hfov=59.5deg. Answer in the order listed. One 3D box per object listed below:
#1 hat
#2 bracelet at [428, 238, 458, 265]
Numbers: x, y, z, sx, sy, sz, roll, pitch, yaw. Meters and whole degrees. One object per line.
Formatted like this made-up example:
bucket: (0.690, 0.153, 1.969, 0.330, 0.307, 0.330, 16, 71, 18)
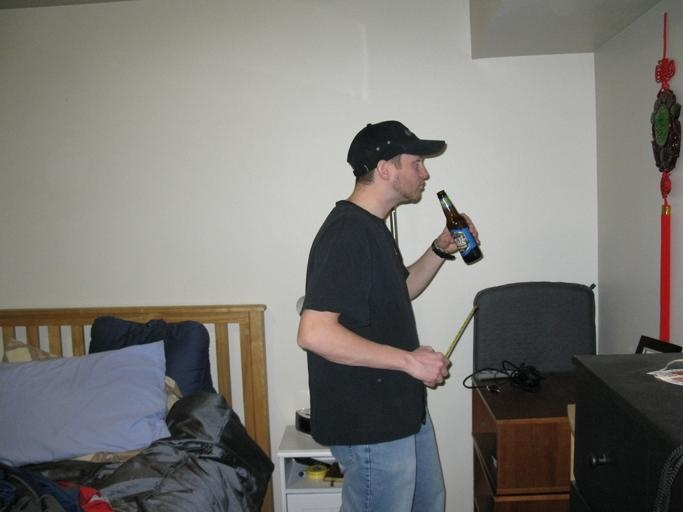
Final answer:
hat: (0.207, -0.447, 2.346, 0.388, 0.204, 0.260, -17, 6, 5)
bracelet: (0.464, -0.016, 2.704, 0.098, 0.036, 0.086, 34, 0, -5)
